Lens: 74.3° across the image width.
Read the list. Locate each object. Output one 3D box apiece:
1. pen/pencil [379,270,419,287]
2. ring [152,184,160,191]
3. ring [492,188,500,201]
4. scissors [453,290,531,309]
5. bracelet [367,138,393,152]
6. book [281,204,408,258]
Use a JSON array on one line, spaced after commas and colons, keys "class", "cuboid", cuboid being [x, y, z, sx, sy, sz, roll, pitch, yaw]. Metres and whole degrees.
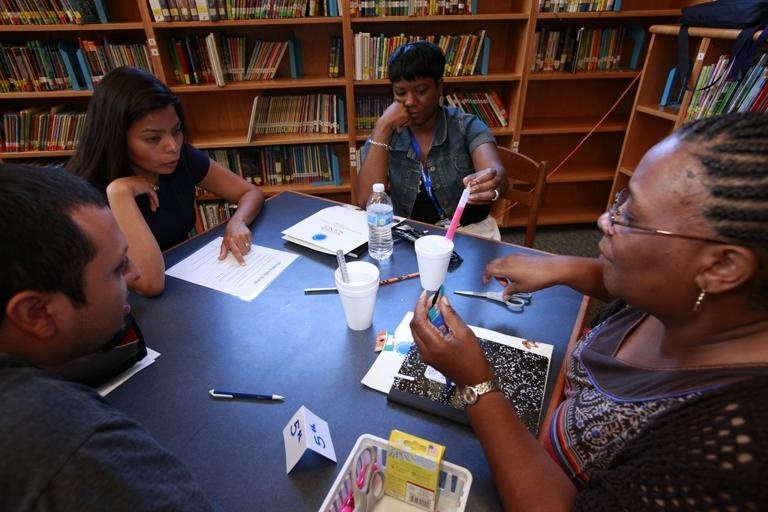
[{"class": "pen/pencil", "cuboid": [0.055, 0.082, 1.794, 0.152, 0.022, 0.020, -11, 56, -16]}, {"class": "ring", "cuboid": [-0.968, -0.291, 2.159, 0.020, 0.023, 0.058, 3, 26, -6]}, {"class": "ring", "cuboid": [0.472, -0.251, 2.113, 0.027, 0.052, 0.043, 8, 21, -7]}, {"class": "scissors", "cuboid": [0.358, 0.137, 1.694, 0.193, 0.022, 0.082, 8, 26, 26]}, {"class": "bracelet", "cuboid": [-0.022, -0.556, 2.550, 0.086, 0.023, 0.069, 20, -5, 27]}, {"class": "book", "cuboid": [-0.208, -0.104, 2.034, 0.278, 0.055, 0.278, 16, 33, 28]}]
